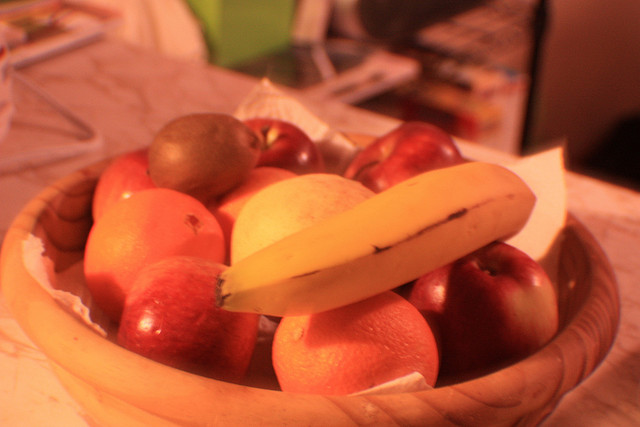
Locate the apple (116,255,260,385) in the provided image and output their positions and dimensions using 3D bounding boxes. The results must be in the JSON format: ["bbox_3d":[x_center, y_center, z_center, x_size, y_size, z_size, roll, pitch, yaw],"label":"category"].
[{"bbox_3d":[-0.173,0.139,0.820,0.170,0.171,0.170,25,84,8],"label":"apple"}]

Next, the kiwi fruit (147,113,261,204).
[{"bbox_3d":[-0.197,-0.088,0.948,0.195,0.154,0.147,-9,1,-16],"label":"kiwi fruit"}]

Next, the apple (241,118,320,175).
[{"bbox_3d":[-0.065,-0.114,1.069,0.115,0.109,0.120,-21,33,-39],"label":"apple"}]

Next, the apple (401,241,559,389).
[{"bbox_3d":[0.244,0.151,0.920,0.237,0.184,0.231,-7,20,-18],"label":"apple"}]

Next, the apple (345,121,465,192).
[{"bbox_3d":[0.155,-0.105,0.994,0.174,0.139,0.186,2,24,16],"label":"apple"}]

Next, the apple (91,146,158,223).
[{"bbox_3d":[-0.315,-0.053,0.981,0.097,0.120,0.117,-18,33,-38],"label":"apple"}]

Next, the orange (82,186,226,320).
[{"bbox_3d":[-0.257,0.010,0.894,0.192,0.192,0.186,32,22,23],"label":"orange"}]
